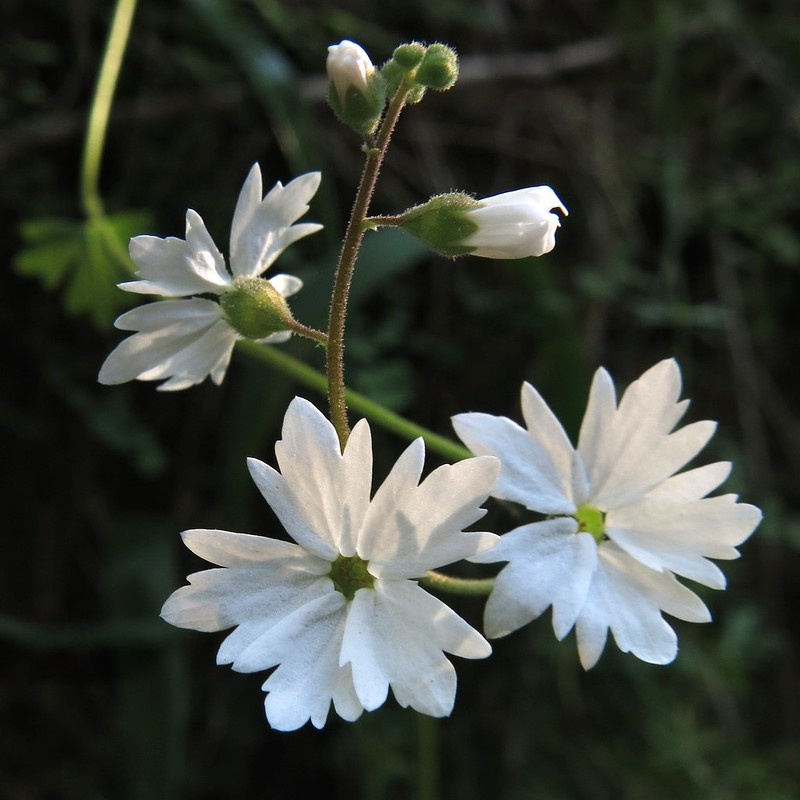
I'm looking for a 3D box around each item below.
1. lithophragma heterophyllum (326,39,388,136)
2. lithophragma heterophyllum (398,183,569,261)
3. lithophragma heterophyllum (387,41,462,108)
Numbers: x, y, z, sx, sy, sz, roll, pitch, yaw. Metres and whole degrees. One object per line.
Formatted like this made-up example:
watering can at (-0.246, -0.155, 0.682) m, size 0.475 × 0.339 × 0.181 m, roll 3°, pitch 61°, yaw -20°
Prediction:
lithophragma heterophyllum at (-0.051, -0.373, 1.419) m, size 0.039 × 0.078 × 0.110 m, roll -22°, pitch 86°, yaw -32°
lithophragma heterophyllum at (0.110, -0.210, 1.414) m, size 0.168 × 0.063 × 0.091 m, roll 5°, pitch 65°, yaw 8°
lithophragma heterophyllum at (0.031, -0.400, 1.417) m, size 0.079 × 0.031 × 0.077 m, roll -11°, pitch 107°, yaw -10°
